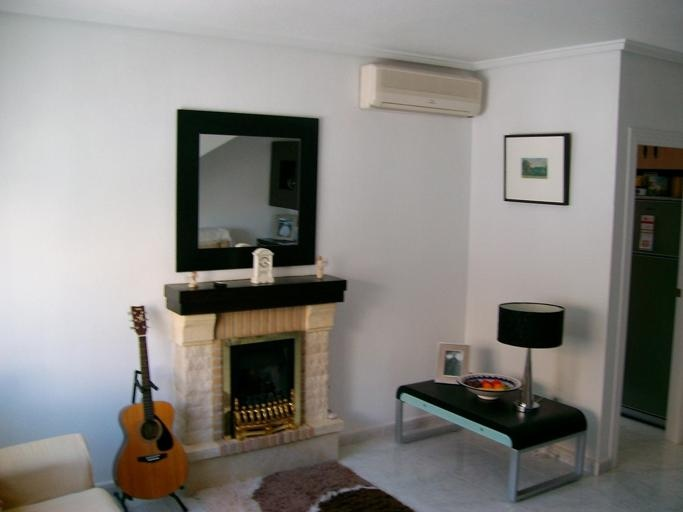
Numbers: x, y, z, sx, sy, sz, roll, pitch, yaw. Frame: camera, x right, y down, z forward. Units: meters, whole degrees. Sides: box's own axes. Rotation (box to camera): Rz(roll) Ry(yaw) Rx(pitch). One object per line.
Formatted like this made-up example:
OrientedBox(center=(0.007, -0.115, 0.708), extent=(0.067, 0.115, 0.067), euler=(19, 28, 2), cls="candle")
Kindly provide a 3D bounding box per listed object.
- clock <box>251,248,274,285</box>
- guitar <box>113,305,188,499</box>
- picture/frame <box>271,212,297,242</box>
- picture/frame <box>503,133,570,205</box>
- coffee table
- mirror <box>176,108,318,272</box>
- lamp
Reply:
OrientedBox(center=(-0.609, 0.066, 4.164), extent=(0.179, 0.251, 0.170), euler=(0, 10, -30), cls="clock")
OrientedBox(center=(-1.308, 1.051, 3.667), extent=(0.407, 1.067, 0.373), euler=(7, 11, 30), cls="guitar")
OrientedBox(center=(-0.457, -0.229, 4.330), extent=(0.204, 0.191, 0.109), euler=(-4, 14, -41), cls="picture/frame")
OrientedBox(center=(1.636, -0.725, 4.613), extent=(0.057, 0.556, 0.564), euler=(-4, 11, -35), cls="picture/frame")
OrientedBox(center=(1.182, 1.388, 4.496), extent=(0.788, 0.568, 1.298), euler=(-7, 13, -41), cls="coffee table")
OrientedBox(center=(-0.751, -0.513, 4.159), extent=(1.246, 1.336, 0.046), euler=(-1, 5, -28), cls="mirror")
OrientedBox(center=(1.475, 0.759, 4.378), extent=(0.472, 0.762, 0.546), euler=(5, 10, 21), cls="lamp")
